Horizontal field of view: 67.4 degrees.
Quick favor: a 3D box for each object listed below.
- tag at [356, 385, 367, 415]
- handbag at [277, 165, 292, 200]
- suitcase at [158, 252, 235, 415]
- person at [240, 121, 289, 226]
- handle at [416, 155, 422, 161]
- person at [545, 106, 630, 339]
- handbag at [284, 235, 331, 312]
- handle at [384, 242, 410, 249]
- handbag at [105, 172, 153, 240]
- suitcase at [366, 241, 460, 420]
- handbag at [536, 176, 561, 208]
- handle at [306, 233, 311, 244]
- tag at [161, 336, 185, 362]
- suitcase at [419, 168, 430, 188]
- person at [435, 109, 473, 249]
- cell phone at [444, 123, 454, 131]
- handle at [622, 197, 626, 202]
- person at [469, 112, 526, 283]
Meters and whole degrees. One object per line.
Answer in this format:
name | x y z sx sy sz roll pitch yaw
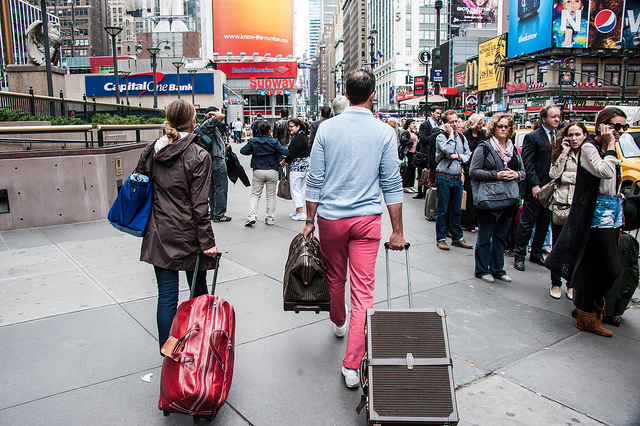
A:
tag | 0.393 1.764 4.456 0.073 0.290 0.082 10 4 -9
handbag | -0.757 -0.651 10.315 0.312 0.745 0.469 0 11 -4
suitcase | -1.118 1.354 4.344 0.661 1.095 0.501 -1 12 -10
person | -1.185 -0.858 10.224 0.950 2.169 0.754 -4 12 -19
handle | 2.628 -1.456 12.652 0.171 0.098 0.039 8 14 32
person | 3.505 0.034 6.190 0.846 2.743 1.252 6 13 27
handbag | -0.165 0.600 5.486 0.515 0.612 1.171 0 17 -1
handle | 0.806 0.333 4.872 0.115 0.046 0.115 -2 2 -35
handbag | -1.983 -0.045 5.046 0.354 0.649 0.467 20 -2 -8
suitcase | 0.799 1.317 4.273 0.763 0.814 0.582 0 11 -1
handbag | 3.368 -0.350 6.980 0.269 0.517 0.211 19 30 21
handle | -0.125 0.267 5.156 0.023 0.080 0.079 9 -5 -7
tag | -1.323 1.206 4.253 0.178 0.187 0.045 5 -18 15
suitcase | 2.364 -0.803 10.782 0.200 0.378 0.363 3 12 13
person | 2.433 -0.609 8.740 0.754 2.503 0.628 -10 15 -42
cell phone | 2.345 -1.578 8.683 0.138 0.111 0.126 3 12 13
handle | 3.900 -0.185 6.143 0.065 0.072 0.019 10 0 -5
person | 2.780 -0.269 7.458 0.866 2.551 0.763 -6 13 -31
